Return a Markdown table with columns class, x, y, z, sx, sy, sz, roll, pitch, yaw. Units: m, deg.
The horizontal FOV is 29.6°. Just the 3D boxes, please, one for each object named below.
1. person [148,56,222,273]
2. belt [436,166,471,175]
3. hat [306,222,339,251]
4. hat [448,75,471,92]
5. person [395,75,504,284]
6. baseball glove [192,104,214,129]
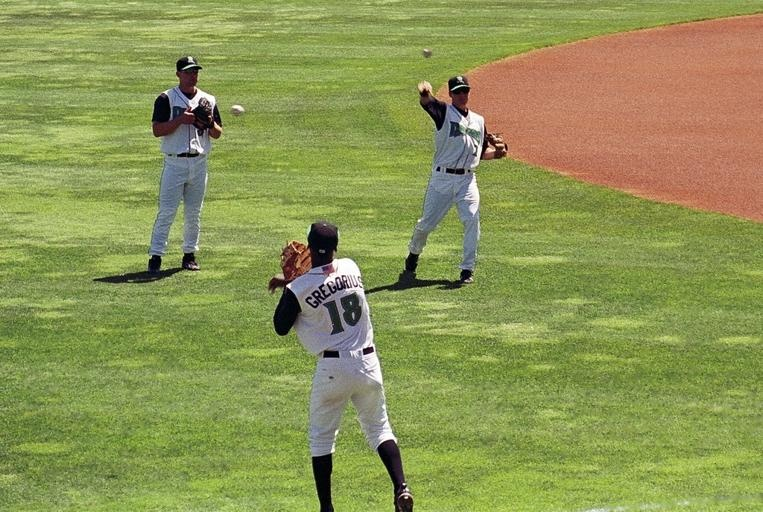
| class | x | y | z | sx | sy | sz | roll | pitch | yaw |
| --- | --- | --- | --- | --- | --- | --- | --- | --- | --- |
| person | -2.968 | -1.357 | 21.529 | 0.989 | 3.258 | 0.589 | -1 | 14 | -23 |
| belt | 1.056 | -1.278 | 21.354 | 0.513 | 0.097 | 0.110 | 3 | 11 | 1 |
| hat | -0.722 | -0.245 | 17.410 | 0.316 | 0.225 | 0.395 | 2 | 37 | -3 |
| hat | 1.126 | -2.559 | 21.259 | 0.270 | 0.149 | 0.305 | -2 | 7 | -3 |
| person | 0.970 | -1.131 | 21.380 | 1.077 | 3.086 | 0.582 | 5 | 13 | 3 |
| baseball glove | -2.647 | -2.072 | 21.232 | 0.283 | 0.361 | 0.156 | 0 | 13 | -21 |
